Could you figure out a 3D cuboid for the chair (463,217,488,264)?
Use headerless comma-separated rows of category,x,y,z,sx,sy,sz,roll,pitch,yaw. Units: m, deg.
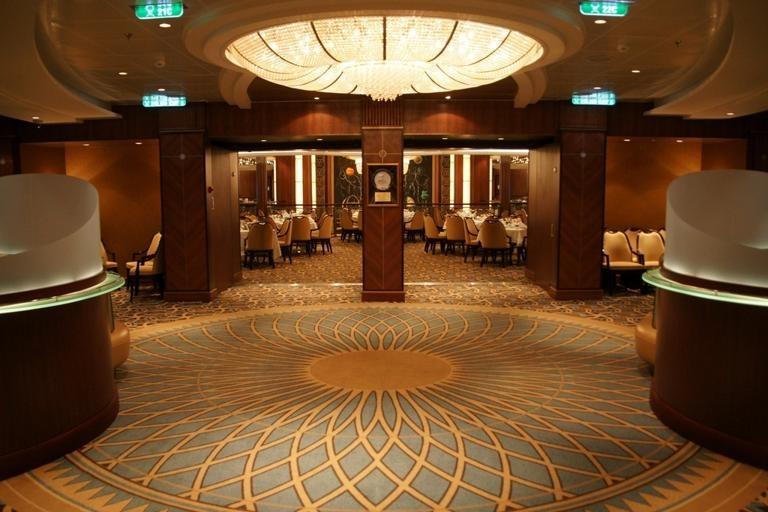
chair,2.317,-0.482,14.134,1.100,1.453,1.006,0,4,13

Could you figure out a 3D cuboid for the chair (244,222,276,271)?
chair,-3.153,-0.264,12.717,0.745,1.178,0.613,-3,12,-12

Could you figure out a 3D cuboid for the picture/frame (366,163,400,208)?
picture/frame,-0.019,-1.303,9.162,0.856,1.068,0.121,0,5,2

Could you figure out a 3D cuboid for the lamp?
lamp,-0.002,-2.224,5.760,3.372,0.648,1.527,0,11,1

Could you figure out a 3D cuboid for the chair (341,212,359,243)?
chair,-1.271,-1.062,18.445,0.681,1.116,1.185,-1,11,-5
